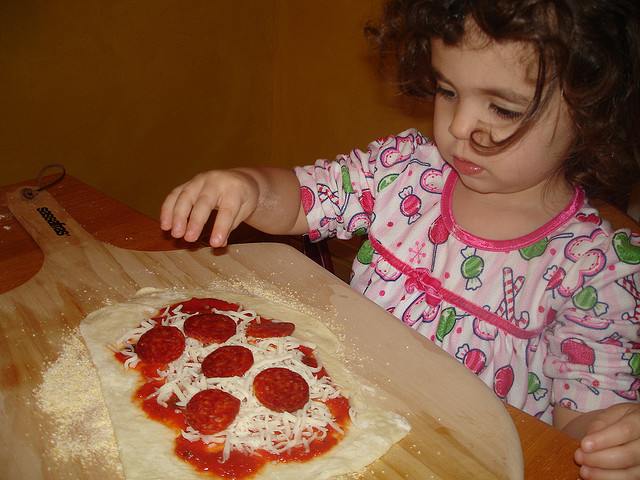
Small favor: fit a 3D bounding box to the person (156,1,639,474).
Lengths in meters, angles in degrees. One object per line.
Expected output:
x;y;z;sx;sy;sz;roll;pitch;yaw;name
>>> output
0.245;-0.023;1.645;0.659;1.523;0.987;-28;63;-36;person
